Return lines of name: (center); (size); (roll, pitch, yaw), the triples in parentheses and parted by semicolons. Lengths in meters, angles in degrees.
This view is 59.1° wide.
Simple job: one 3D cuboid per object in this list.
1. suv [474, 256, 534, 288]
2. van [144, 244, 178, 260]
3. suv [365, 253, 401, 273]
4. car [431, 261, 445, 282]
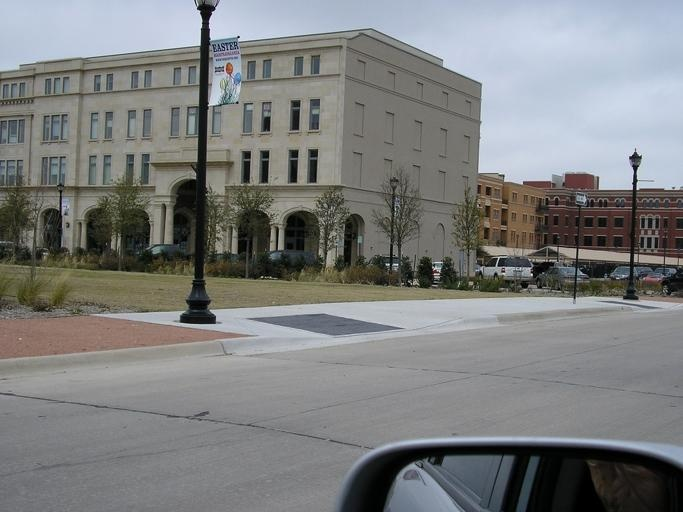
suv: (12.222, 1.022, 44.742); (2.225, 1.957, 4.663); (1, 5, -23)
van: (-13.716, -0.390, 46.137); (2.115, 1.061, 8.181); (0, 1, -14)
suv: (3.034, 0.463, 44.688); (1.264, 1.291, 2.068); (1, -3, -17)
car: (7.863, 1.256, 49.588); (1.404, 1.259, 2.335); (0, -5, -2)
